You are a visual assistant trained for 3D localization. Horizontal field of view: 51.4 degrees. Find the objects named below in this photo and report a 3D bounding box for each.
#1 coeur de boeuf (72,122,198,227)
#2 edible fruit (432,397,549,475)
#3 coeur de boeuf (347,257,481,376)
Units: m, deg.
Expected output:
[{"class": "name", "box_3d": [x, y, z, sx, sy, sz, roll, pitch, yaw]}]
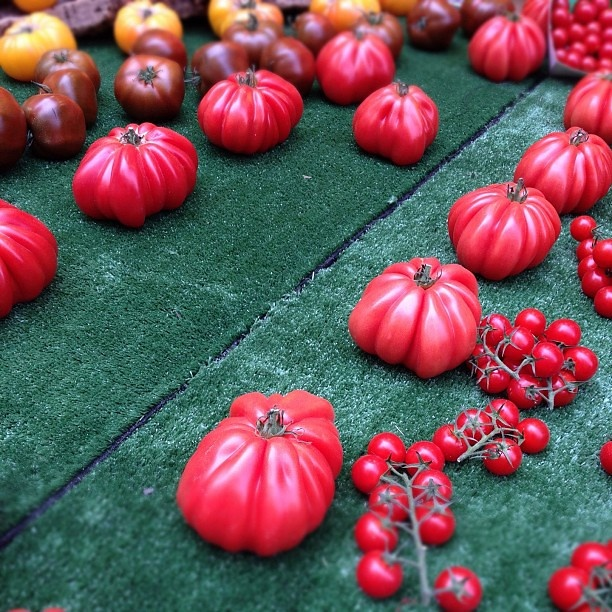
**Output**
[{"class": "coeur de boeuf", "box_3d": [-0.510, -0.400, 1.948, 0.300, 0.219, 0.335, 31, 55, 23]}, {"class": "edible fruit", "box_3d": [0.401, 0.279, 1.375, 0.174, 0.085, 0.175, 0, 64, -5]}, {"class": "coeur de boeuf", "box_3d": [0.267, 0.003, 1.592, 0.275, 0.249, 0.287, -27, 45, -17]}]
